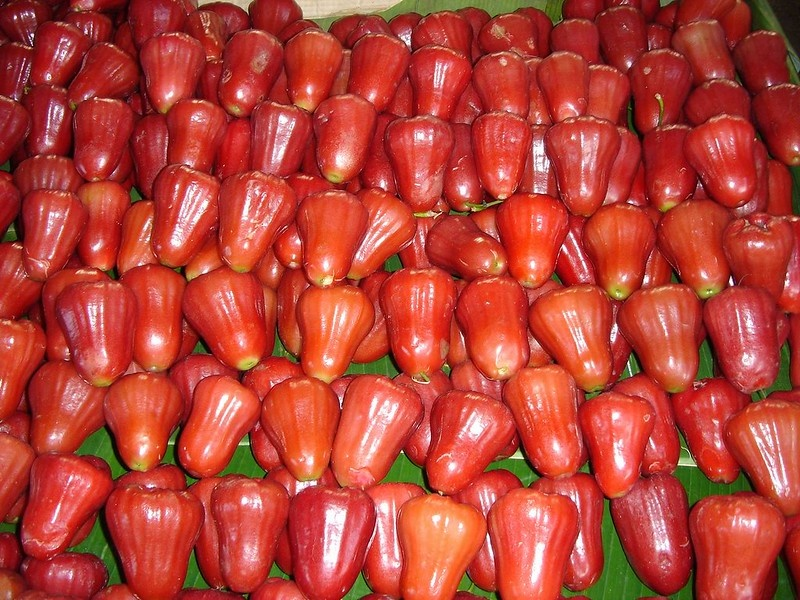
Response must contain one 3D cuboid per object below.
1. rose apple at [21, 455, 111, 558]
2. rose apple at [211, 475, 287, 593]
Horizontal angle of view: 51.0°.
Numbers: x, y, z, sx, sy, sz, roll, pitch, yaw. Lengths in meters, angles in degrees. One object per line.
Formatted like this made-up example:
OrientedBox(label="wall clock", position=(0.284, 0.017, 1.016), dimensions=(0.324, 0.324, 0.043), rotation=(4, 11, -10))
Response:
OrientedBox(label="rose apple", position=(-0.834, 0.500, 2.070), dimensions=(0.159, 0.178, 0.256), rotation=(25, 80, -7))
OrientedBox(label="rose apple", position=(-0.371, 0.565, 2.056), dimensions=(0.214, 0.235, 0.360), rotation=(2, 80, -6))
